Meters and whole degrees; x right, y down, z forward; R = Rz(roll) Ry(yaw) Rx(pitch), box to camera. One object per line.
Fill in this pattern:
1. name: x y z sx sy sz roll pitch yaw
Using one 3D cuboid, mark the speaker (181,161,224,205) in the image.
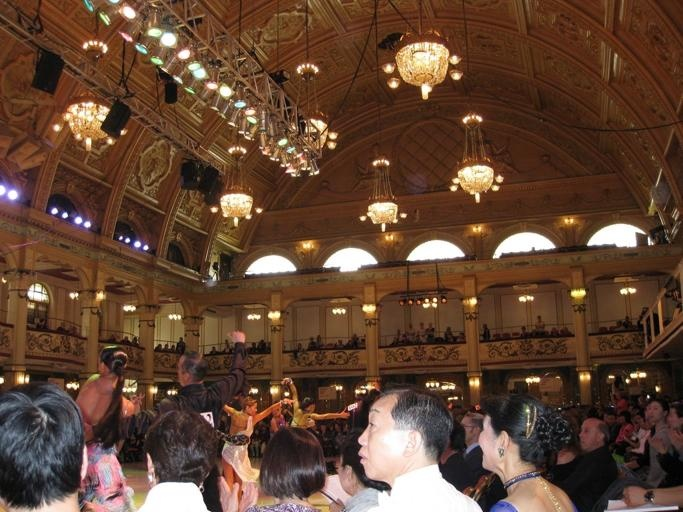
1. speaker: -3.939 -2.096 17.463 0.532 1.121 1.299 -5 2 0
